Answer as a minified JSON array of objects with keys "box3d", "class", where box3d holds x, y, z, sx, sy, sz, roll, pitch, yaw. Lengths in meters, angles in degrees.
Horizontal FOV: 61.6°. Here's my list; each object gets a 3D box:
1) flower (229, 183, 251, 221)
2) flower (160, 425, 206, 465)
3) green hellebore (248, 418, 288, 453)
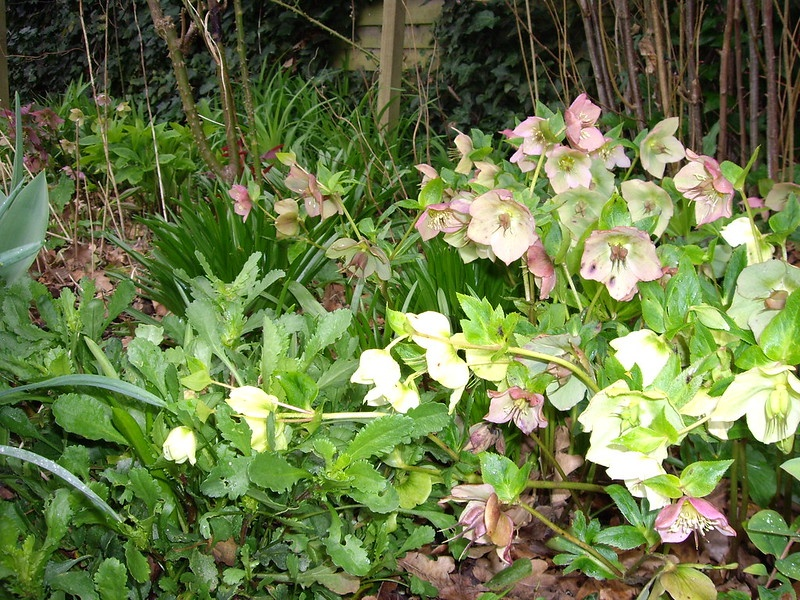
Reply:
[{"box3d":[-0.488,-0.310,2.093,0.050,0.113,0.085,-12,8,-23],"class":"flower"},{"box3d":[-0.414,0.259,1.239,0.067,0.066,0.049,18,-14,-9],"class":"flower"},{"box3d":[-0.251,0.253,1.255,0.055,0.079,0.035,8,25,5],"class":"green hellebore"}]
